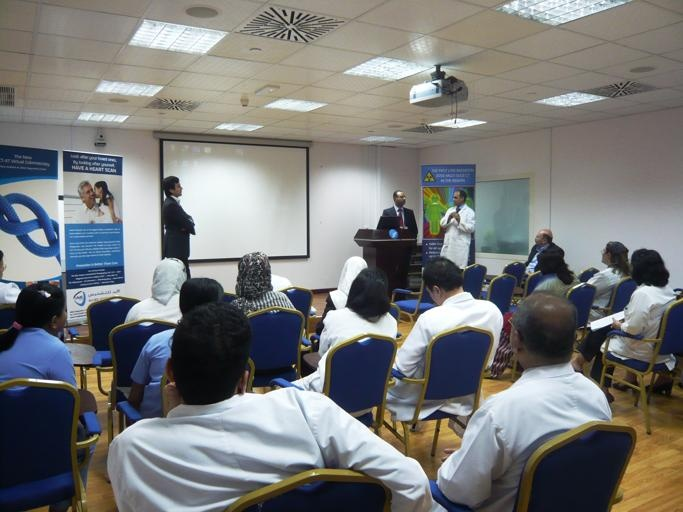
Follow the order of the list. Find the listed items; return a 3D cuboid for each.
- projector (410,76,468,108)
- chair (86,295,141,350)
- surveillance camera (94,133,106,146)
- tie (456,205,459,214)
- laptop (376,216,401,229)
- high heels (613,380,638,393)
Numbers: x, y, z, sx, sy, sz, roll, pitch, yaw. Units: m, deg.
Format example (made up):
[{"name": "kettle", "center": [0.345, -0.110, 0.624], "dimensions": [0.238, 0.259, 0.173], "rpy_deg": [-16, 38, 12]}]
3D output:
[{"name": "projector", "center": [1.084, -1.870, 5.617], "dimensions": [0.617, 0.311, 0.345], "rpy_deg": [2, 6, 11]}, {"name": "chair", "center": [-2.091, 0.555, 4.566], "dimensions": [0.425, 0.826, 0.485], "rpy_deg": [0, 3, -34]}, {"name": "surveillance camera", "center": [-4.168, -1.976, 8.647], "dimensions": [0.210, 0.196, 0.357], "rpy_deg": [2, -4, -23]}, {"name": "tie", "center": [2.021, -0.820, 8.737], "dimensions": [0.072, 0.112, 0.028], "rpy_deg": [-2, -4, 31]}, {"name": "laptop", "center": [0.743, -0.541, 8.189], "dimensions": [0.369, 0.215, 0.292], "rpy_deg": [0, 6, -6]}, {"name": "high heels", "center": [2.795, 1.302, 4.959], "dimensions": [0.151, 0.066, 0.082], "rpy_deg": [6, 4, 23]}]
